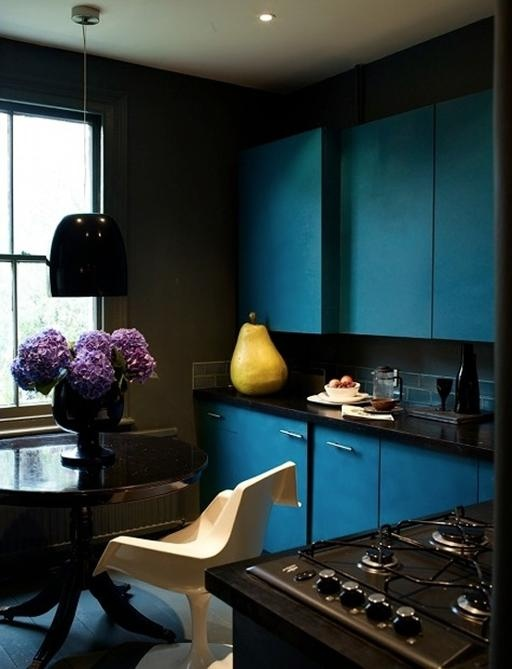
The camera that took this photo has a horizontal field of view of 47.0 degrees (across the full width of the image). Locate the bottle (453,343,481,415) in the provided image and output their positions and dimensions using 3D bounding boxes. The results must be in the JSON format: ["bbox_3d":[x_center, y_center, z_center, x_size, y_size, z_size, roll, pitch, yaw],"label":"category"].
[{"bbox_3d":[0.948,0.194,2.610,0.170,0.299,0.104,-4,-2,-20],"label":"bottle"}]

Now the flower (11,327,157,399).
[{"bbox_3d":[-0.613,0.097,2.182,0.490,0.215,0.362,-6,19,-3],"label":"flower"}]

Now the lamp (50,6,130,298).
[{"bbox_3d":[-0.767,-0.823,2.540,0.287,1.416,0.783,-5,-2,-15],"label":"lamp"}]

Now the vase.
[{"bbox_3d":[-0.641,0.333,2.263,0.272,0.312,0.268,4,-6,-45],"label":"vase"}]

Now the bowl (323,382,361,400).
[{"bbox_3d":[0.448,0.292,3.017,0.180,0.072,0.134,-6,-2,6],"label":"bowl"}]
